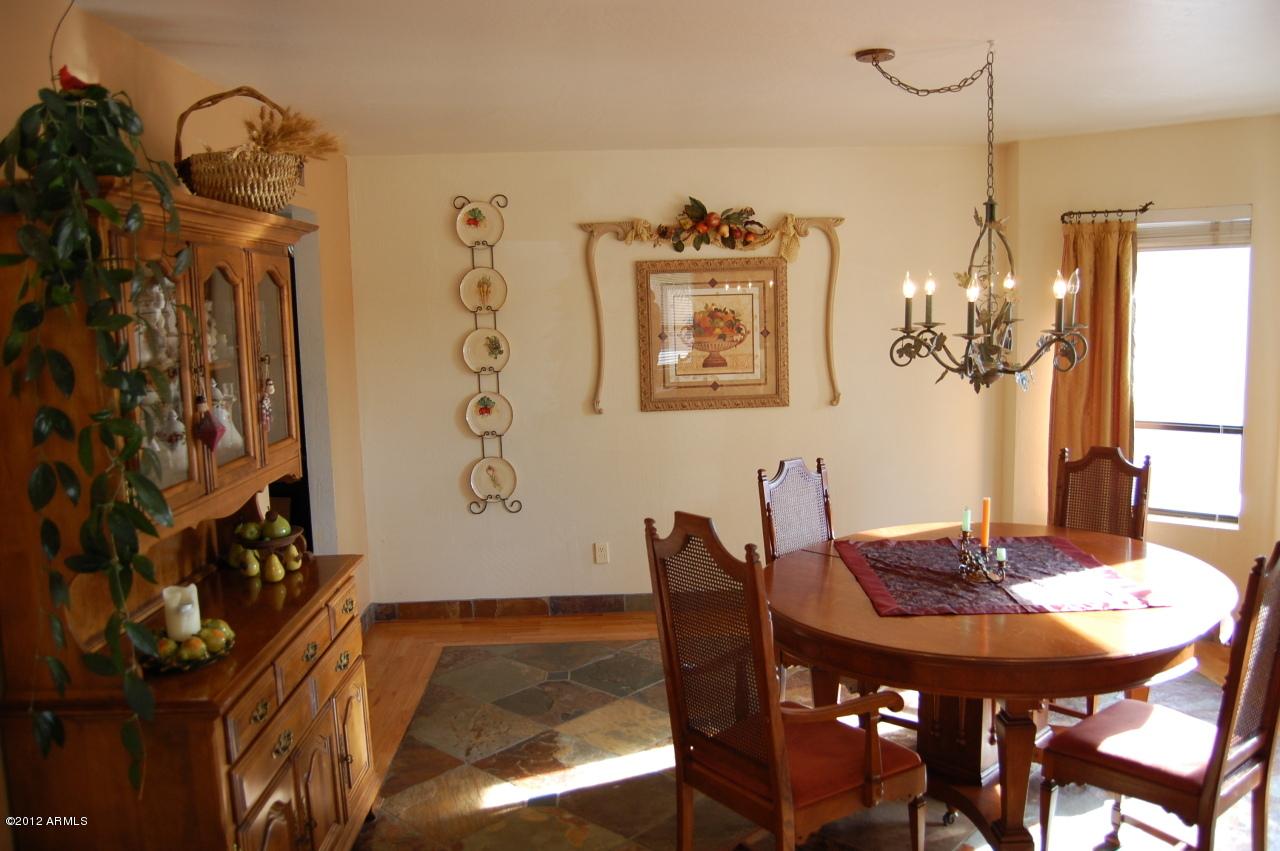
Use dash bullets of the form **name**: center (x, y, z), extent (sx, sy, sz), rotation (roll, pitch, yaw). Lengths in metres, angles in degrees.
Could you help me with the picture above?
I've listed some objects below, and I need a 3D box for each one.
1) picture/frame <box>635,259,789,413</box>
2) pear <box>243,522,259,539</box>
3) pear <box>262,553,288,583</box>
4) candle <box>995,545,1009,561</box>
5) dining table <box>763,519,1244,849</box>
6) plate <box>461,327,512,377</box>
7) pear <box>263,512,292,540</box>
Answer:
- **picture/frame**: center (0.406, -0.592, 5.767), extent (0.898, 0.933, 0.067), rotation (0, 2, -2)
- **pear**: center (-1.631, 0.435, 3.938), extent (0.061, 0.035, 0.062), rotation (24, 19, 34)
- **pear**: center (-1.491, 0.582, 3.886), extent (0.099, 0.147, 0.103), rotation (-4, 1, -2)
- **candle**: center (1.548, 0.544, 4.020), extent (0.068, 0.079, 0.070), rotation (-4, 4, 17)
- **dining table**: center (1.379, 0.811, 3.604), extent (1.286, 0.799, 1.565), rotation (-11, 12, -29)
- **plate**: center (-0.941, -0.464, 5.732), extent (0.271, 0.267, 0.050), rotation (0, 8, 7)
- **pear**: center (-1.529, 0.410, 3.978), extent (0.080, 0.086, 0.108), rotation (-13, 42, -44)
